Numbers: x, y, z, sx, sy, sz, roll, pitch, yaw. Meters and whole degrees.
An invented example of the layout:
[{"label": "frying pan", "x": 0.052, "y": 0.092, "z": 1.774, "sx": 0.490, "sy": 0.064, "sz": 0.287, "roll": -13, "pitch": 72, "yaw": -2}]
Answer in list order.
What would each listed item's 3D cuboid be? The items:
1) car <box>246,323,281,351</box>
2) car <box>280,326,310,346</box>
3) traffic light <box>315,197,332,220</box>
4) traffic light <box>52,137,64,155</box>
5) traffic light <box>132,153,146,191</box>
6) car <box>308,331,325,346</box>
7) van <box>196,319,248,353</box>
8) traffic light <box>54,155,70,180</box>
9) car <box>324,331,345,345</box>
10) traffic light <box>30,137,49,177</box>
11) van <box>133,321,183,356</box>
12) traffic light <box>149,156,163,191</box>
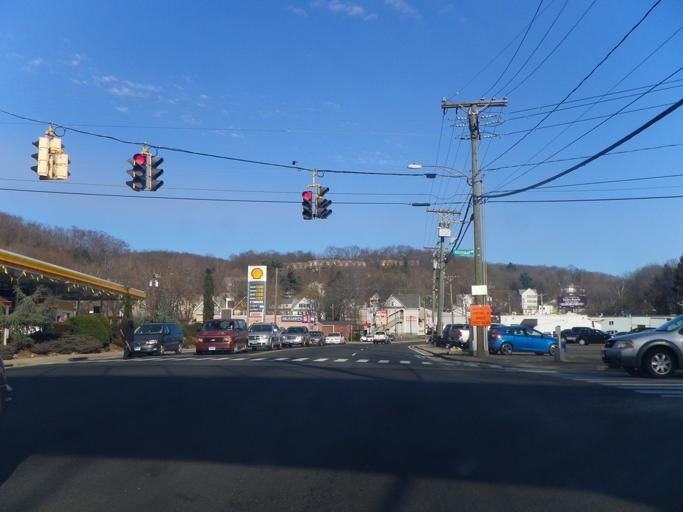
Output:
[{"label": "car", "x": -4.538, "y": 4.722, "z": 47.015, "sx": 1.632, "sy": 1.371, "sz": 3.490, "roll": -1, "pitch": -1, "yaw": -3}, {"label": "car", "x": -3.254, "y": 5.679, "z": 55.826, "sx": 1.303, "sy": 1.256, "sz": 3.130, "roll": -1, "pitch": -1, "yaw": 5}, {"label": "traffic light", "x": -0.619, "y": -1.765, "z": 29.647, "sx": 0.494, "sy": 0.679, "sz": 1.214, "roll": -1, "pitch": -1, "yaw": -17}, {"label": "traffic light", "x": -8.147, "y": -3.164, "z": 23.195, "sx": 0.344, "sy": 0.358, "sz": 0.567, "roll": -1, "pitch": -1, "yaw": -20}, {"label": "traffic light", "x": -6.453, "y": -2.656, "z": 25.814, "sx": 0.503, "sy": 0.970, "sz": 0.468, "roll": -1, "pitch": 0, "yaw": -16}, {"label": "car", "x": -2.029, "y": 6.340, "z": 62.200, "sx": 1.325, "sy": 1.168, "sz": 2.833, "roll": 2, "pitch": 4, "yaw": 0}, {"label": "van", "x": -5.796, "y": 3.864, "z": 38.957, "sx": 1.705, "sy": 1.410, "sz": 2.888, "roll": -1, "pitch": -1, "yaw": 9}, {"label": "traffic light", "x": -8.020, "y": -2.554, "z": 23.173, "sx": 0.370, "sy": 0.582, "sz": 0.379, "roll": -1, "pitch": 0, "yaw": -15}, {"label": "car", "x": -0.688, "y": 7.348, "z": 72.234, "sx": 1.546, "sy": 1.077, "sz": 3.216, "roll": -2, "pitch": -9, "yaw": 7}, {"label": "traffic light", "x": -8.499, "y": -2.823, "z": 23.005, "sx": 0.439, "sy": 0.939, "sz": 0.779, "roll": -1, "pitch": -1, "yaw": -21}, {"label": "van", "x": -8.610, "y": 3.826, "z": 37.524, "sx": 1.226, "sy": 1.058, "sz": 2.324, "roll": -4, "pitch": -11, "yaw": 11}, {"label": "traffic light", "x": -5.893, "y": -2.576, "z": 25.701, "sx": 0.389, "sy": 0.963, "sz": 1.991, "roll": -1, "pitch": -1, "yaw": -14}]
